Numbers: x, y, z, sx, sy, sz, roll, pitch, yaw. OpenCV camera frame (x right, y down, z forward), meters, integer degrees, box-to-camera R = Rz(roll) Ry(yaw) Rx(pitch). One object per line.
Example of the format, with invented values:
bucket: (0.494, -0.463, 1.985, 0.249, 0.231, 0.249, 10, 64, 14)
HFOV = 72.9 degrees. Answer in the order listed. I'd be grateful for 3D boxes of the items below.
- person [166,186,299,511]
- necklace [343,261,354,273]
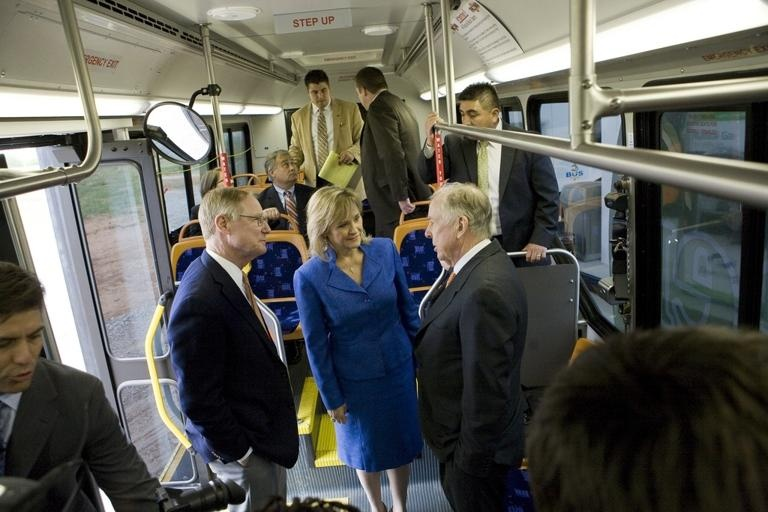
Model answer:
person: (-0.877, 0.593, 2.969, 0.650, 1.927, 0.500, -7, 11, -28)
necklace: (-0.231, 0.075, 3.295, 0.061, 0.061, 0.015, -4, -19, -16)
